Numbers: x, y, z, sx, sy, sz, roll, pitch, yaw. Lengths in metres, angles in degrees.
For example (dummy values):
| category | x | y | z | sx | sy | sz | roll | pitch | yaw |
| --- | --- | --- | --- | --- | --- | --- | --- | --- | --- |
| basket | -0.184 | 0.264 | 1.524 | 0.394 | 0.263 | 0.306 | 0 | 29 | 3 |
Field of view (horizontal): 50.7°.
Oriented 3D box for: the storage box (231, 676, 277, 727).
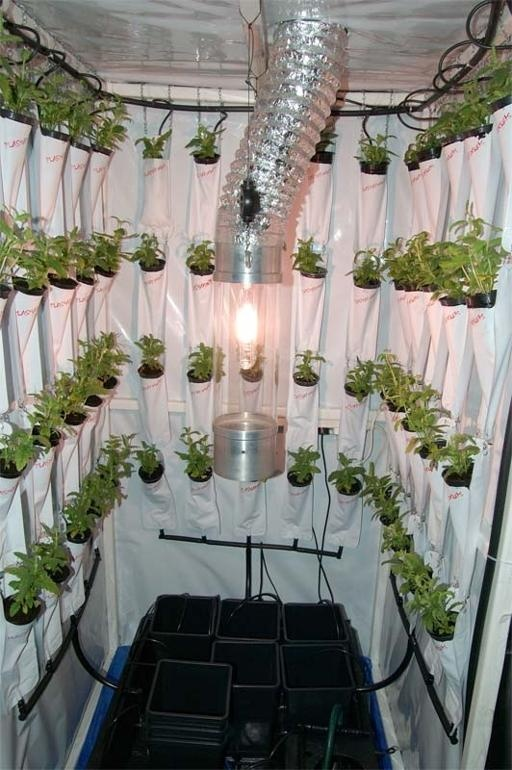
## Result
| category | x | y | z | sx | sy | sz | roll | pitch | yaw |
| --- | --- | --- | --- | --- | --- | --- | --- | --- | --- |
| storage box | -0.009 | 1.633 | 2.771 | 0.281 | 0.296 | 0.204 | 1 | -9 | 0 |

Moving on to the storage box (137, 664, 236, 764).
| category | x | y | z | sx | sy | sz | roll | pitch | yaw |
| --- | --- | --- | --- | --- | --- | --- | --- | --- | --- |
| storage box | -0.316 | 1.641 | 2.818 | 0.433 | 0.621 | 0.398 | 2 | -12 | -1 |

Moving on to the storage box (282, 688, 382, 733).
| category | x | y | z | sx | sy | sz | roll | pitch | yaw |
| --- | --- | --- | --- | --- | --- | --- | --- | --- | --- |
| storage box | 0.379 | 1.672 | 2.852 | 0.454 | 0.246 | 0.170 | 2 | 13 | -2 |

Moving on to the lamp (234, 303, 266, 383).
| category | x | y | z | sx | sy | sz | roll | pitch | yaw |
| --- | --- | --- | --- | --- | --- | --- | --- | --- | --- |
| lamp | -0.023 | -0.163 | 2.210 | 0.110 | 0.346 | 0.171 | 2 | 12 | 2 |
